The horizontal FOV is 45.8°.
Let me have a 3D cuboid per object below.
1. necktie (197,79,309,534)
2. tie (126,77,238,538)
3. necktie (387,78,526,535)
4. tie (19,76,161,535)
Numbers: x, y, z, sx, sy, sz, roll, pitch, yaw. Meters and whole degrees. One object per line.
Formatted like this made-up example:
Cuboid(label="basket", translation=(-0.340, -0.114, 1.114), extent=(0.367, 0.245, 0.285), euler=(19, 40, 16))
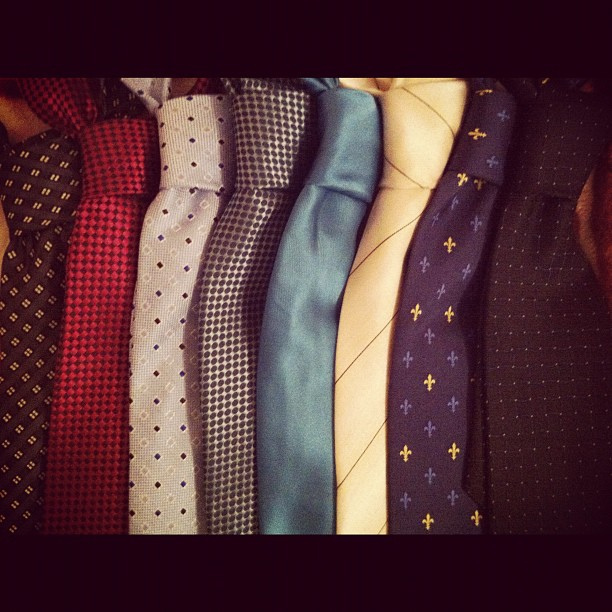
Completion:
Cuboid(label="necktie", translation=(-0.064, -0.003, 0.741), extent=(0.089, 0.389, 0.255), euler=(6, 31, -1))
Cuboid(label="tie", translation=(-0.125, 0.011, 0.745), extent=(0.091, 0.379, 0.245), euler=(3, 31, -6))
Cuboid(label="necktie", translation=(0.143, 0.025, 0.744), extent=(0.125, 0.500, 0.056), euler=(5, 3, -2))
Cuboid(label="tie", translation=(-0.212, -0.039, 0.667), extent=(0.158, 0.459, 0.031), euler=(-1, -2, 0))
